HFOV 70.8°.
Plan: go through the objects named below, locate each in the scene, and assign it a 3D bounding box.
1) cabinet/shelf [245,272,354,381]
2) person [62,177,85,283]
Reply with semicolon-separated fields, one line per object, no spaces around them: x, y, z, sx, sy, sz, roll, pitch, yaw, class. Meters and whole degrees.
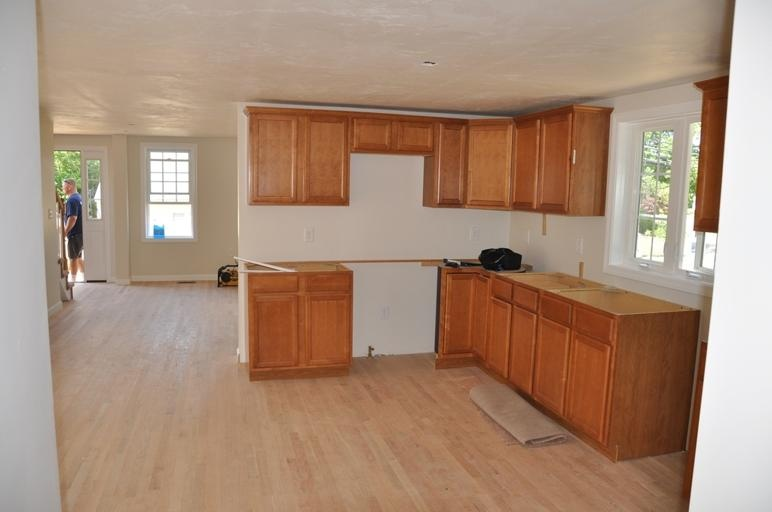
-0.862;0.665;5.303;1.232;1.035;0.642;-1;2;-16;cabinet/shelf
-5.412;-0.421;9.467;0.297;1.796;0.677;-5;14;-27;person
